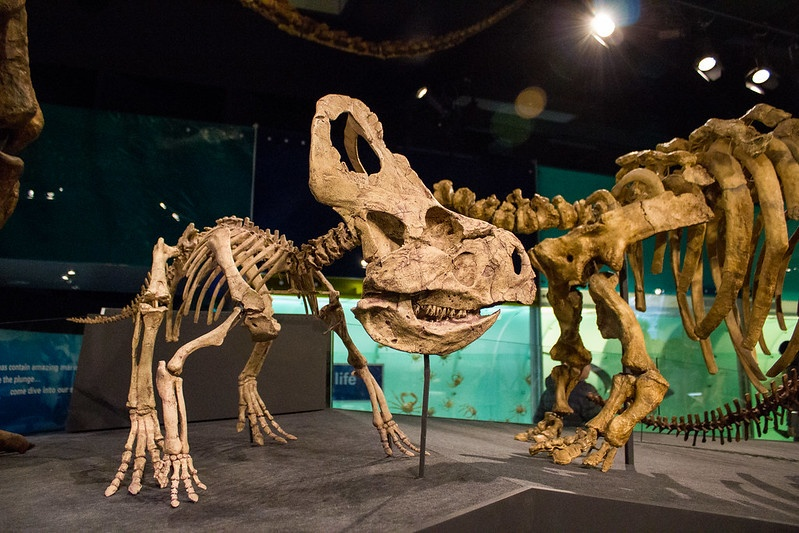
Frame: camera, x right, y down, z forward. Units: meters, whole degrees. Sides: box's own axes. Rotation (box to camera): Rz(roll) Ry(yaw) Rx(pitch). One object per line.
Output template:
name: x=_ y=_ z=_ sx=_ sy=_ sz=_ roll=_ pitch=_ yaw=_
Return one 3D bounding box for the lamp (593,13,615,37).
lamp: x=2.257 y=-2.677 z=7.040 sx=0.251 sy=0.209 sz=0.173 roll=1 pitch=2 yaw=12

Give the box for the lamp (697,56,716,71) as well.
lamp: x=3.466 y=-2.269 z=7.136 sx=0.128 sy=0.127 sz=0.202 roll=-2 pitch=3 yaw=-43
